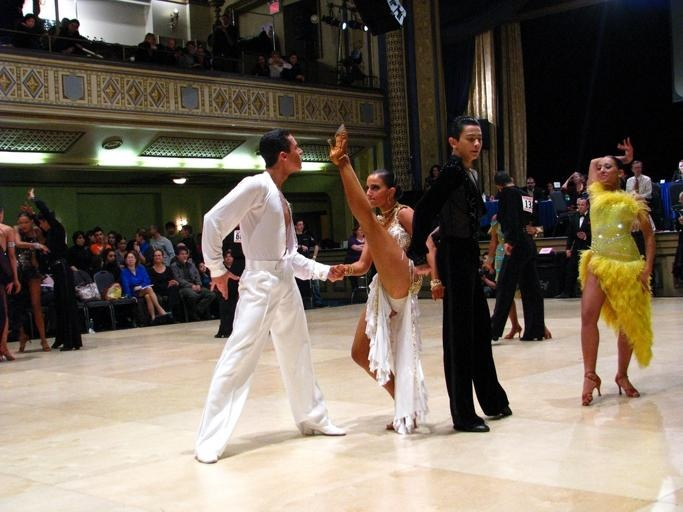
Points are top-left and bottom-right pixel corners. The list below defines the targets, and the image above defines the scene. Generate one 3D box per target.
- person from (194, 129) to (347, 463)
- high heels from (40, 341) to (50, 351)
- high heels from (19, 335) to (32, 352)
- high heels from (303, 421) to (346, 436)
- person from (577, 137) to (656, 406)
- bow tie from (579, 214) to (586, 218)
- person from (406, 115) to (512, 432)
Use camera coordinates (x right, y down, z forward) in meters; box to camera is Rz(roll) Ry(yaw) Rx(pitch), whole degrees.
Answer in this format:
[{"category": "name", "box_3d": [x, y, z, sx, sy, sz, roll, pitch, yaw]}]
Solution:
[{"category": "person", "box_3d": [-0.518, 0.217, 3.710, 1.024, 2.041, 0.341, -7, 5, -30]}, {"category": "high heels", "box_3d": [-4.705, 1.420, 9.285, 0.109, 0.152, 0.368, -2, -5, -28]}, {"category": "high heels", "box_3d": [-5.236, 1.442, 9.653, 0.117, 0.277, 0.082, 12, -2, -17]}, {"category": "high heels", "box_3d": [-0.116, 1.145, 3.926, 0.286, 0.119, 0.110, -2, -1, 4]}, {"category": "person", "box_3d": [2.115, 0.149, 4.535, 0.550, 1.887, 0.983, -2, 5, 28]}, {"category": "bow tie", "box_3d": [4.932, -0.819, 12.018, 0.141, 0.039, 0.147, 1, -8, 0]}, {"category": "person", "box_3d": [0.777, 0.115, 3.869, 0.387, 2.084, 0.704, -2, 5, 33]}]
